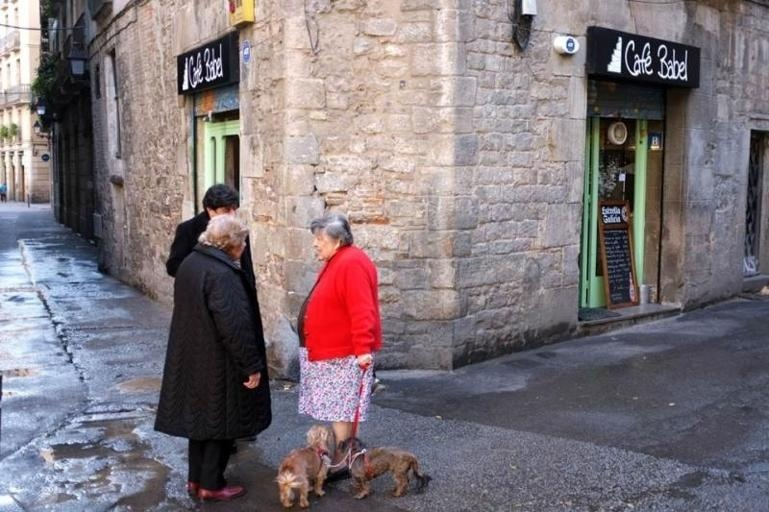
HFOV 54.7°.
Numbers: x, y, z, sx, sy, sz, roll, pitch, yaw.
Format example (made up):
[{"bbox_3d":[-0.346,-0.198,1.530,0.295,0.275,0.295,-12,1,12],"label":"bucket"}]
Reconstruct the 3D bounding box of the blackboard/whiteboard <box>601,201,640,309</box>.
[{"bbox_3d":[3.702,-0.036,11.698,0.802,1.672,0.347,-8,13,-33],"label":"blackboard/whiteboard"}]

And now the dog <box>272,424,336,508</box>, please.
[{"bbox_3d":[-0.635,1.825,6.743,0.311,0.647,0.892,5,18,22],"label":"dog"}]

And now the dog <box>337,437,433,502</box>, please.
[{"bbox_3d":[0.000,1.905,6.749,0.838,0.475,0.365,0,11,7],"label":"dog"}]

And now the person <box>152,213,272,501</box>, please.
[{"bbox_3d":[-1.539,0.643,6.612,0.970,1.959,0.536,-4,11,-16],"label":"person"}]
